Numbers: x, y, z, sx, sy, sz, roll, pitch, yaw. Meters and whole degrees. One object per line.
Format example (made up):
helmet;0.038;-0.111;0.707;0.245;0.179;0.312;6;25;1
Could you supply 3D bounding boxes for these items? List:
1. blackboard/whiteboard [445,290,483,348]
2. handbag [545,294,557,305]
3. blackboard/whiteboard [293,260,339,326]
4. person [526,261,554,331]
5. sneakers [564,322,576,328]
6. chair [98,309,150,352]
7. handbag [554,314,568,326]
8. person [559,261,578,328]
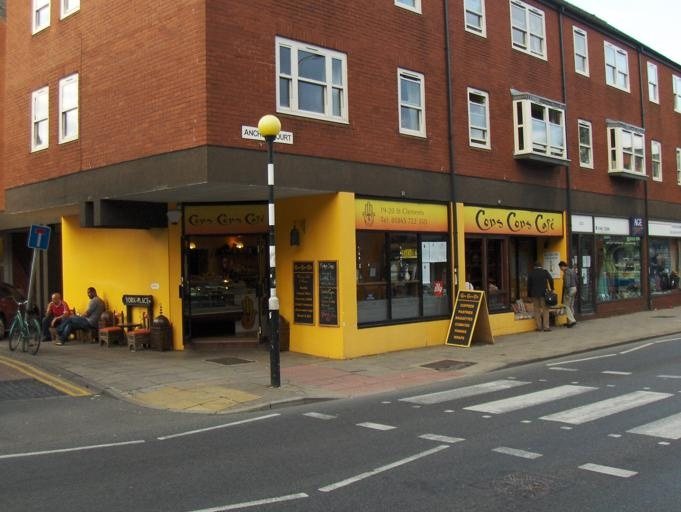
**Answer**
blackboard/whiteboard;3.572;1.750;18.479;0.770;1.555;0.962;1;-6;-30
handbag;6.921;1.450;21.485;0.350;0.481;0.441;1;-4;-40
blackboard/whiteboard;-0.603;0.960;16.952;1.535;2.054;0.076;-2;-4;40
person;6.595;1.319;21.289;0.756;2.248;0.985;-3;-5;18
sneakers;7.851;2.319;22.067;0.282;0.132;0.171;-13;7;-6
chair;-6.001;2.071;18.173;1.980;1.101;0.996;-7;-7;44
handbag;7.754;2.251;22.838;0.427;0.469;0.327;1;-3;-20
person;7.989;1.286;22.642;0.525;2.301;1.391;-3;-5;18
